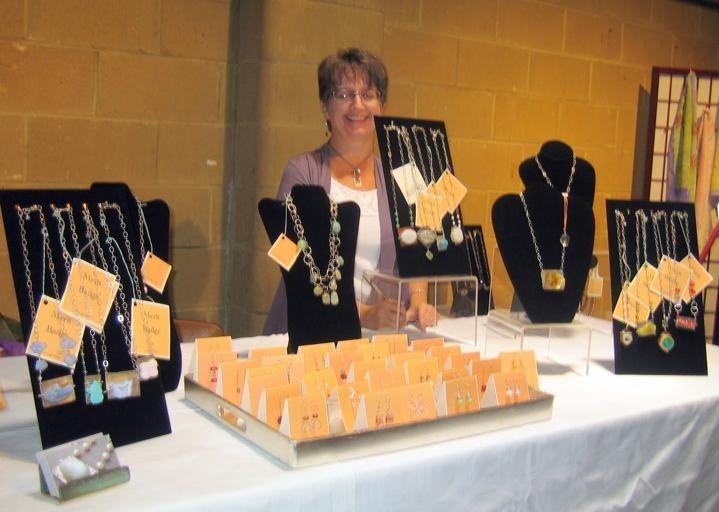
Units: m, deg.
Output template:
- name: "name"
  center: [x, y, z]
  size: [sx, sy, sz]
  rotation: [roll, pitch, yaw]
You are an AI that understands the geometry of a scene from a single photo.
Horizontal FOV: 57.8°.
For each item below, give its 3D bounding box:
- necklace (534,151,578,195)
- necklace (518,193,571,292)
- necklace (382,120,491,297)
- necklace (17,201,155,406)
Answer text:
- name: "necklace"
  center: [0.779, -0.279, 2.505]
  size: [0.039, 0.144, 0.134]
  rotation: [8, -21, -24]
- name: "necklace"
  center: [0.664, -0.052, 2.306]
  size: [0.179, 0.349, 0.110]
  rotation: [-1, 3, 5]
- name: "necklace"
  center: [0.235, -0.224, 2.421]
  size: [0.330, 0.589, 0.140]
  rotation: [-3, 3, -20]
- name: "necklace"
  center: [-0.753, 0.127, 1.776]
  size: [0.361, 0.542, 0.156]
  rotation: [-3, 3, -29]
